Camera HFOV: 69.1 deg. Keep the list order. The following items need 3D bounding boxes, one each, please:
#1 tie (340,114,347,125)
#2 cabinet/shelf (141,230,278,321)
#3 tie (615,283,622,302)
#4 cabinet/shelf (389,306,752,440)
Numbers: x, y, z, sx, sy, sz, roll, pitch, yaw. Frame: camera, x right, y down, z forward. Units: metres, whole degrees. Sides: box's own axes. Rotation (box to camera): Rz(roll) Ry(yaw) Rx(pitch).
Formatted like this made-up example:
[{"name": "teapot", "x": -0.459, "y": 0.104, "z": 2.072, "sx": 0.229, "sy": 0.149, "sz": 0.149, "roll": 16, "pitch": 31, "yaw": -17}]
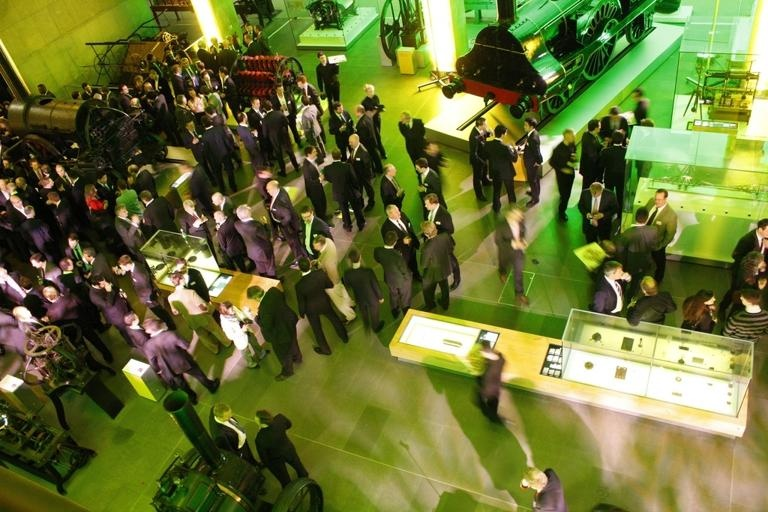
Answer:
[{"name": "tie", "x": -0.862, "y": -2.917, "z": 11.897, "sx": 0.120, "sy": 0.197, "sz": 0.047, "roll": -20, "pitch": 19, "yaw": -29}, {"name": "cabinet/shelf", "x": -3.103, "y": 0.357, "z": 9.838, "sx": 1.679, "sy": 0.986, "sz": 0.571, "roll": 23, "pitch": 61, "yaw": 12}, {"name": "tie", "x": 3.481, "y": 0.532, "z": 8.290, "sx": 0.078, "sy": 0.223, "sz": 0.141, "roll": 3, "pitch": 7, "yaw": -4}, {"name": "cabinet/shelf", "x": 2.909, "y": 1.510, "z": 8.248, "sx": 4.427, "sy": 1.564, "sz": 0.694, "roll": 8, "pitch": 37, "yaw": 19}]
